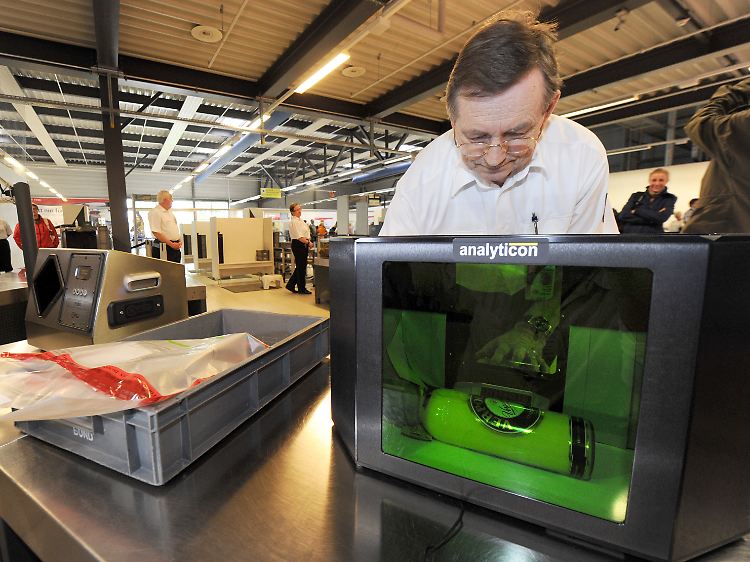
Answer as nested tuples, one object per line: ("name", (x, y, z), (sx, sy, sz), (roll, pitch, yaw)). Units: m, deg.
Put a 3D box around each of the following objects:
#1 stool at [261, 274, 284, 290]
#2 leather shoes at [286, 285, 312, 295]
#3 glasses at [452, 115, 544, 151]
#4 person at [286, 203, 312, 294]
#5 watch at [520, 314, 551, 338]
("stool", (-1.449, 0.013, 7.053), (0.247, 0.141, 0.235), (-5, 12, -23))
("leather shoes", (-1.034, 0.119, 6.652), (0.389, 0.141, 0.130), (2, 6, 31))
("glasses", (0.286, -0.330, 1.140), (0.201, 0.061, 0.093), (-2, 6, 11))
("person", (-1.027, -0.420, 6.639), (0.355, 1.154, 0.655), (-4, 7, -9))
("watch", (0.284, 0.077, 0.872), (0.039, 0.033, 0.009), (4, 17, 33))
